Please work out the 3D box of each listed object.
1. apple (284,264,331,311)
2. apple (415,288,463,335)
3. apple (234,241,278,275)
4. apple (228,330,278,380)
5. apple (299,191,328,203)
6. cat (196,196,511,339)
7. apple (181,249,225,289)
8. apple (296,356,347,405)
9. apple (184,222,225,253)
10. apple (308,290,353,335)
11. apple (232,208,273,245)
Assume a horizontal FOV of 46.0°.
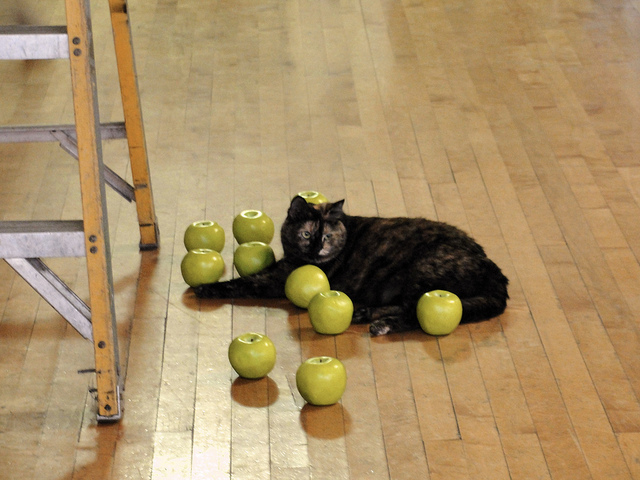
[{"bbox_3d":[-0.050,0.232,3.516,0.201,0.208,0.209,4,3,-10],"label":"apple"},{"bbox_3d":[0.523,0.304,3.287,0.175,0.185,0.183,4,3,32],"label":"apple"},{"bbox_3d":[-0.314,0.085,3.616,0.154,0.157,0.157,-2,9,-3],"label":"apple"},{"bbox_3d":[-0.277,0.487,3.142,0.207,0.199,0.213,8,5,35],"label":"apple"},{"bbox_3d":[-0.038,-0.215,3.837,0.084,0.039,0.087,4,5,15],"label":"apple"},{"bbox_3d":[0.264,0.093,3.561,1.130,0.493,0.734,4,6,4],"label":"cat"},{"bbox_3d":[-0.559,0.148,3.610,0.200,0.179,0.192,0,52,-6],"label":"apple"},{"bbox_3d":[0.003,0.571,3.020,0.229,0.218,0.232,4,-19,-1],"label":"apple"},{"bbox_3d":[-0.570,-0.014,3.752,0.149,0.149,0.151,0,11,2],"label":"apple"},{"bbox_3d":[0.075,0.335,3.356,0.181,0.174,0.182,4,13,15],"label":"apple"},{"bbox_3d":[-0.331,-0.075,3.819,0.163,0.161,0.162,-2,11,-17],"label":"apple"}]
